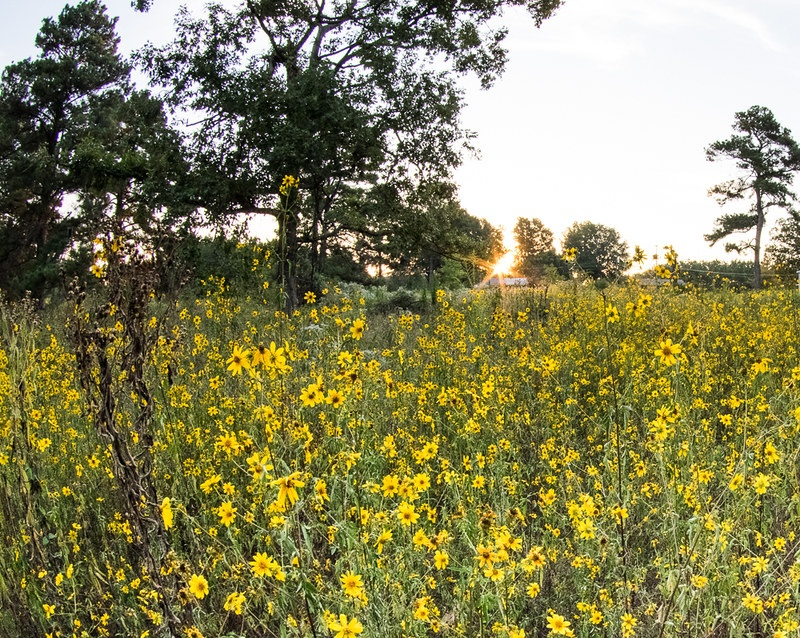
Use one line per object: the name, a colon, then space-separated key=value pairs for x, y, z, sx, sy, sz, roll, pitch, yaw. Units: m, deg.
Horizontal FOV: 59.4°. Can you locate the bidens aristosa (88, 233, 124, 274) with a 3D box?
bidens aristosa: x=-1.905 y=-0.411 z=4.515 sx=0.310 sy=0.282 sz=0.174 roll=1 pitch=-3 yaw=32
